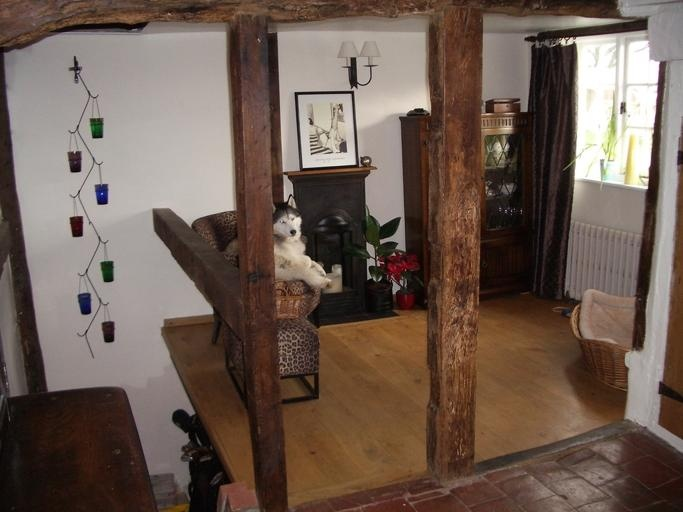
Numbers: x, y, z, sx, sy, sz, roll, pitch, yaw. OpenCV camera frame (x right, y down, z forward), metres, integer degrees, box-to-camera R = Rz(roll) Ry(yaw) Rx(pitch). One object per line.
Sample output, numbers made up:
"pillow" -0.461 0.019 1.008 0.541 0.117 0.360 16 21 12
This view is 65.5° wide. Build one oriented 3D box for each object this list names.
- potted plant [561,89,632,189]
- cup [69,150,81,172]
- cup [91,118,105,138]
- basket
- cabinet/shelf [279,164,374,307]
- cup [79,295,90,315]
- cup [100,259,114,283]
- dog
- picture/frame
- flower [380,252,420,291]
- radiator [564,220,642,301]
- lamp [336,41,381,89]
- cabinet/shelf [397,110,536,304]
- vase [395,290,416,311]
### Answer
"potted plant" 2.955 -1.325 6.323 0.809 0.919 0.615 -1 9 25
"cup" -2.707 -0.953 5.406 0.130 0.230 0.267 -6 16 -27
"cup" -2.453 -1.285 5.329 0.107 0.192 0.190 -7 17 -29
"basket" 2.231 0.862 4.668 0.265 0.454 0.727 -1 15 -9
"cabinet/shelf" -0.115 -0.114 6.099 0.937 1.797 0.424 -3 -15 -3
"cup" -2.692 0.483 5.584 0.115 0.220 0.202 -6 16 -26
"cup" -2.444 0.161 5.531 0.102 0.259 0.181 -7 17 -31
"dog" -0.657 -0.192 5.058 1.119 0.873 0.386 22 30 16
"picture/frame" -0.206 -1.433 6.062 0.795 1.067 0.037 -4 1 -21
"flower" 0.692 0.184 6.269 0.414 0.275 0.429 -10 22 -9
"radiator" 2.882 0.014 5.809 0.113 0.739 0.762 -4 12 -27
"lamp" 0.198 -2.161 6.035 0.459 0.494 0.513 2 15 3
"cabinet/shelf" 1.631 -0.649 6.649 1.406 2.174 0.518 -3 6 -6
"vase" 0.779 0.529 6.527 0.202 0.189 0.232 0 7 0
